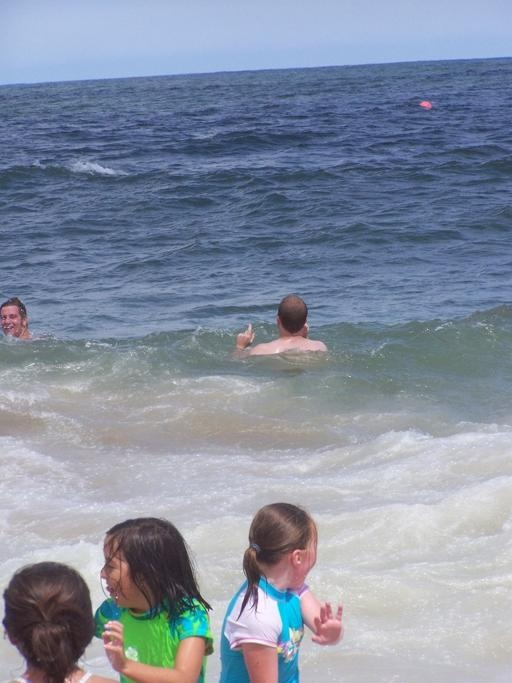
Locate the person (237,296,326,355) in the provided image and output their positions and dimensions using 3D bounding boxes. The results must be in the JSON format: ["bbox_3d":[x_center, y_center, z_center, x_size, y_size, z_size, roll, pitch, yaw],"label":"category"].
[{"bbox_3d":[0.224,-0.114,9.946,0.945,0.562,0.553,-1,22,-7],"label":"person"}]
